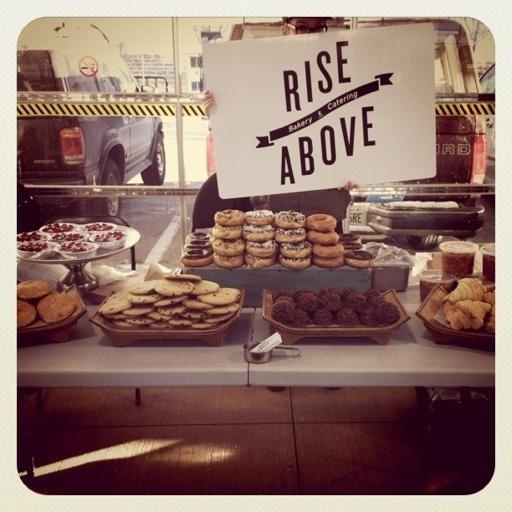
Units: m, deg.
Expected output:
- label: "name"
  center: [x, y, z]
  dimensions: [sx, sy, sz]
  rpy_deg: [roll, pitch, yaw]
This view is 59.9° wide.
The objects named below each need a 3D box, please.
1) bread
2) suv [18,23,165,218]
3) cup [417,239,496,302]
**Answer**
- label: "bread"
  center: [1.060, 0.226, 2.201]
  dimensions: [0.209, 0.092, 0.263]
  rpy_deg: [-4, 34, 23]
- label: "suv"
  center: [-1.841, -1.698, 5.976]
  dimensions: [1.387, 2.251, 2.915]
  rpy_deg: [3, 9, 21]
- label: "cup"
  center: [1.115, 0.040, 2.638]
  dimensions: [0.436, 0.393, 0.315]
  rpy_deg: [12, 29, 34]
